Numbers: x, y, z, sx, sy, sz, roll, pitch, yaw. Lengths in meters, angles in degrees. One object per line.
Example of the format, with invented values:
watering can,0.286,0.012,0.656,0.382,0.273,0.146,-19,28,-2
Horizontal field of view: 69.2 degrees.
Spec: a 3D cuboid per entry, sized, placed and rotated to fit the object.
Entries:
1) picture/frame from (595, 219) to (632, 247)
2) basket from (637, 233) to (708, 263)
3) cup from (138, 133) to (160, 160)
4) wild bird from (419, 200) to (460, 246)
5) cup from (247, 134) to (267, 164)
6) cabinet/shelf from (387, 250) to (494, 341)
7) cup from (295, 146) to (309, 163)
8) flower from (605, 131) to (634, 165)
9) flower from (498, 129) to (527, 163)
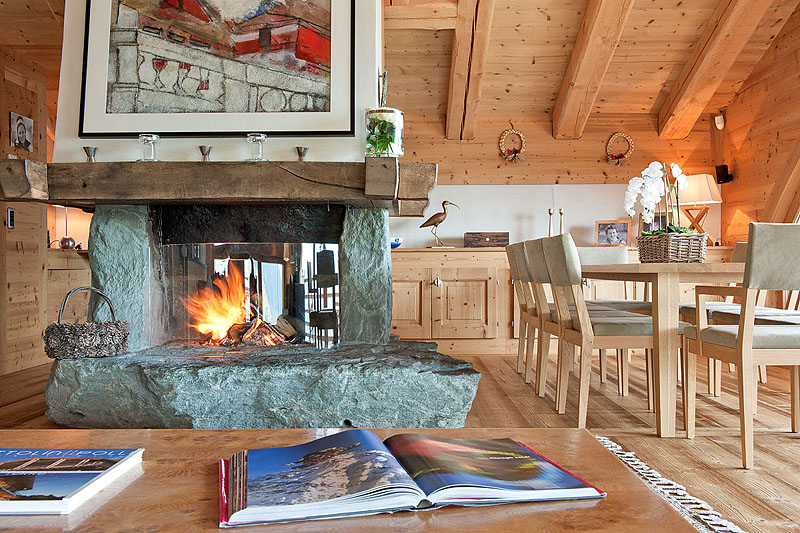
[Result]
picture/frame,2.283,-0.339,6.146,0.493,0.305,0.030,-1,-4,10
basket,1.733,-0.110,3.711,0.270,0.112,0.302,0,-2,0
cup,-1.509,-0.698,3.484,0.111,0.181,0.183,-1,-1,-21
wild bird,0.416,-0.465,6.095,0.431,0.365,0.424,-1,-1,3
cup,-0.858,-0.694,3.481,0.108,0.179,0.198,-1,-1,-13
cabinet/shelf,0.365,0.263,5.628,1.349,0.747,0.561,0,-1,1
cup,-0.581,-0.667,3.524,0.122,0.069,0.099,1,-4,-2
flower,2.354,-1.241,6.194,0.319,0.313,0.090,-2,-1,8
flower,1.182,-1.278,6.193,0.367,0.281,0.104,-1,7,-1
